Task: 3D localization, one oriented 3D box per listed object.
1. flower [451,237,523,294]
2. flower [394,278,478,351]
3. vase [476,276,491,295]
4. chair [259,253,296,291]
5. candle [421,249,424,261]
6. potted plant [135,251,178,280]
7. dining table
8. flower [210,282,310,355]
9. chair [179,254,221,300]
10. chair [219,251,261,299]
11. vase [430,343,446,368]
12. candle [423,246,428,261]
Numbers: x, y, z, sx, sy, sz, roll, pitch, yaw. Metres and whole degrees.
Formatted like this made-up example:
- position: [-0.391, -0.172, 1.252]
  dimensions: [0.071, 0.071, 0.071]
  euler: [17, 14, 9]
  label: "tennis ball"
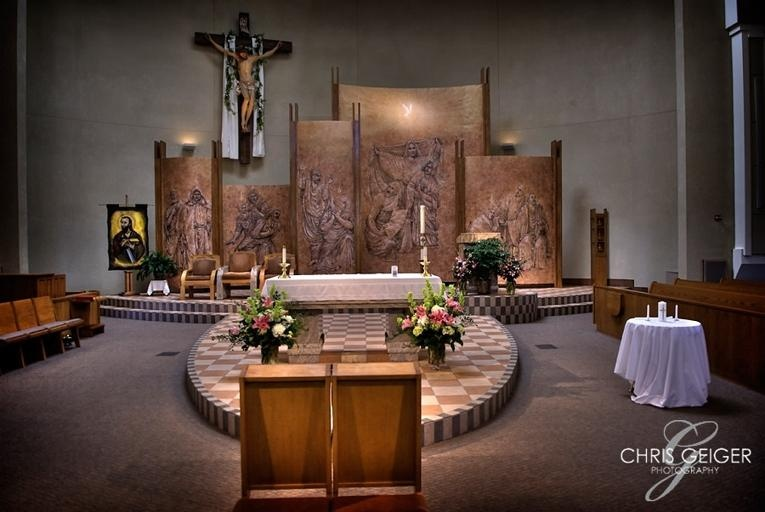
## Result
- position: [2.241, 0.209, 12.279]
  dimensions: [1.078, 0.997, 1.131]
  euler: [-5, 12, -21]
  label: "flower"
- position: [0.851, 0.861, 8.480]
  dimensions: [0.863, 1.011, 0.922]
  euler: [-2, -13, 0]
  label: "flower"
- position: [2.150, 0.602, 12.139]
  dimensions: [0.306, 0.351, 0.312]
  euler: [0, -4, 22]
  label: "vase"
- position: [-2.352, 0.405, 13.210]
  dimensions: [0.740, 1.019, 0.726]
  euler: [0, -1, -2]
  label: "chair"
- position: [0.614, -0.024, 8.759]
  dimensions: [0.052, 0.149, 0.141]
  euler: [0, 3, 13]
  label: "candle"
- position: [-5.272, 0.227, 13.937]
  dimensions: [0.763, 0.547, 0.783]
  euler: [0, -1, 0]
  label: "potted plant"
- position: [3.864, 1.392, 8.079]
  dimensions: [1.169, 1.099, 1.085]
  euler: [3, 9, 44]
  label: "dining table"
- position: [-1.714, 0.966, 8.421]
  dimensions: [1.055, 1.040, 1.080]
  euler: [1, 6, 15]
  label: "flower"
- position: [-4.073, 0.482, 13.161]
  dimensions: [0.796, 0.994, 0.848]
  euler: [0, 1, -12]
  label: "chair"
- position: [-3.232, 0.428, 13.217]
  dimensions: [1.103, 1.078, 1.106]
  euler: [0, 0, 44]
  label: "chair"
- position: [0.803, 1.449, 8.524]
  dimensions: [0.313, 0.361, 0.316]
  euler: [0, -4, -11]
  label: "vase"
- position: [0.630, -0.039, 8.791]
  dimensions: [0.067, 0.184, 0.233]
  euler: [-1, 3, -5]
  label: "candle"
